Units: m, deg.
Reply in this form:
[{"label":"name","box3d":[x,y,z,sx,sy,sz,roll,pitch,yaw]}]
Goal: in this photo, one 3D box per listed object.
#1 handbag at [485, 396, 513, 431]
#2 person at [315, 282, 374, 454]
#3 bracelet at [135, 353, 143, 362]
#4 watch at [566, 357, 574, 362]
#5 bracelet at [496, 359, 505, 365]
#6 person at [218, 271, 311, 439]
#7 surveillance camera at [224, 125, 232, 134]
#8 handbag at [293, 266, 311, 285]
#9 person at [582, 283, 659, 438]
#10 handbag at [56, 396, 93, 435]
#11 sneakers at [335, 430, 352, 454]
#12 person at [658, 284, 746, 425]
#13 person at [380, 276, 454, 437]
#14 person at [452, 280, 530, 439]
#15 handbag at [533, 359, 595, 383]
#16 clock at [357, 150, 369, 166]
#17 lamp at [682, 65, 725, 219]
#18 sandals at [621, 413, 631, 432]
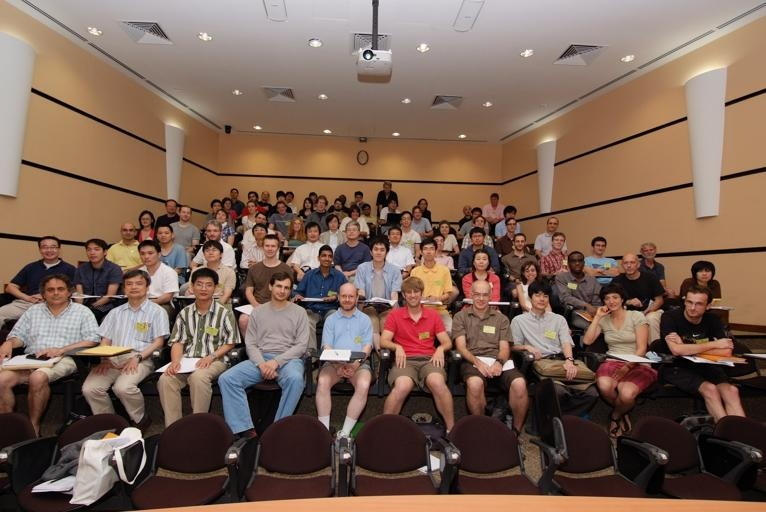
[{"label":"handbag","box3d":[1.217,1.623,5.034,0.245,0.338,0.119,-1,-34,11]},{"label":"person","box3d":[-0.388,1.042,4.956,0.570,1.514,0.777,1,-4,-2]},{"label":"bracelet","box3d":[-2.494,1.042,4.962,0.092,0.082,0.060,6,8,-3]},{"label":"watch","box3d":[1.982,1.096,5.128,0.068,0.064,0.044,8,15,23]},{"label":"bracelet","box3d":[1.205,1.095,4.992,0.054,0.039,0.053,17,-10,-37]},{"label":"person","box3d":[-1.192,1.098,4.920,0.813,1.312,0.451,1,-4,-4]},{"label":"surveillance camera","box3d":[-3.551,-2.919,11.082,0.126,0.119,0.126,0,2,-6]},{"label":"handbag","box3d":[-1.182,0.256,6.994,0.230,0.321,0.114,6,-7,-40]},{"label":"person","box3d":[2.553,1.090,5.210,0.705,1.563,0.674,-1,-4,22]},{"label":"handbag","box3d":[-3.054,1.528,4.842,0.225,0.256,0.571,3,-4,-31]},{"label":"sneakers","box3d":[-0.333,1.563,4.042,0.141,0.169,0.405,2,-21,-5]},{"label":"person","box3d":[3.344,0.990,5.056,0.763,1.317,0.459,1,-4,-2]},{"label":"person","box3d":[0.351,0.984,5.045,0.754,1.517,0.522,1,-4,1]},{"label":"person","box3d":[1.119,1.070,5.093,0.762,1.584,0.600,0,-4,8]},{"label":"handbag","box3d":[1.862,1.205,5.045,0.334,0.114,0.340,0,1,6]},{"label":"clock","box3d":[-0.506,-2.425,11.958,0.378,0.433,0.046,2,-6,-5]},{"label":"lamp","box3d":[4.773,-1.629,7.062,0.233,2.120,0.530,2,-4,-19]},{"label":"sandals","box3d":[2.549,1.758,5.070,0.117,0.203,0.050,4,-8,-8]}]
